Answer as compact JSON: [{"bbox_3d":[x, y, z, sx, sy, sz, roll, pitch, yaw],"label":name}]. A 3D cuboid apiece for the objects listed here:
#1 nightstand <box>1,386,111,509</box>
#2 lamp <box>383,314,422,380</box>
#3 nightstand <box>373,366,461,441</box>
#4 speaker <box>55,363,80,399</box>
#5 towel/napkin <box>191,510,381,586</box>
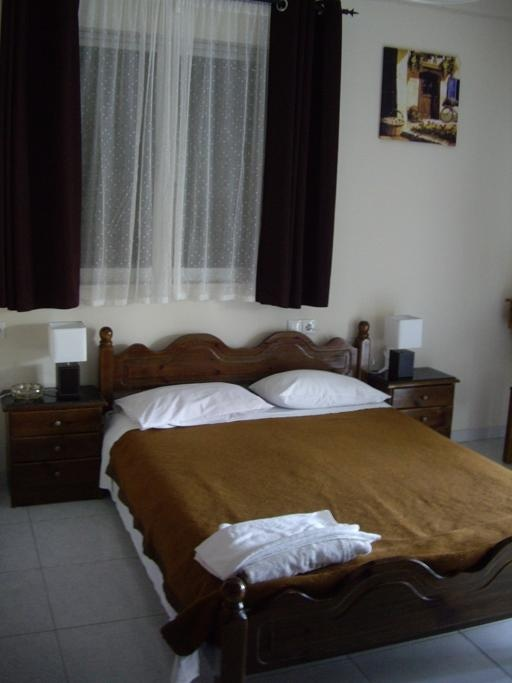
[{"bbox_3d":[-0.943,0.466,2.932,0.644,0.688,0.453,-3,6,-23],"label":"nightstand"},{"bbox_3d":[0.929,0.036,3.601,0.204,0.430,0.215,-8,6,-3],"label":"lamp"},{"bbox_3d":[1.048,0.436,3.683,0.470,0.489,0.352,-5,14,-4],"label":"nightstand"},{"bbox_3d":[-0.932,0.193,2.821,0.139,0.263,0.133,0,12,-20],"label":"speaker"},{"bbox_3d":[0.084,0.535,1.476,0.293,0.077,0.199,-6,11,-27],"label":"towel/napkin"}]
